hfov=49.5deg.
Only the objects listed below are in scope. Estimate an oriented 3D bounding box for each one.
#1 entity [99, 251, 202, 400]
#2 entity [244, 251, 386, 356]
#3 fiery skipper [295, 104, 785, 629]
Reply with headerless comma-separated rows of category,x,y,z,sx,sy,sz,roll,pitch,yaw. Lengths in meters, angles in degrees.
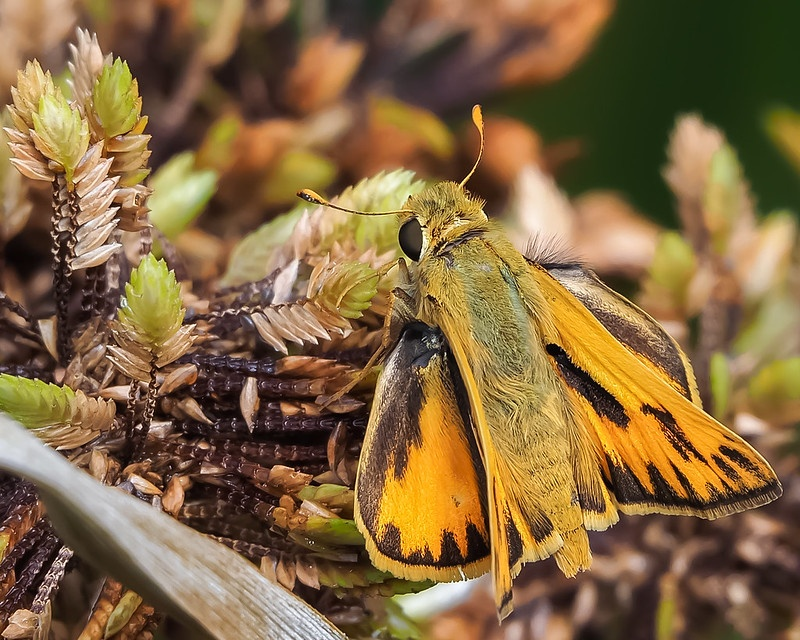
entity,-0.154,0.003,0.524,0.054,0.089,0.029,-14,27,-13
entity,-0.055,-0.008,0.581,0.085,0.057,0.026,-28,-9,-1
fiery skipper,0.040,0.088,0.717,0.354,0.400,0.132,-21,-13,-34
